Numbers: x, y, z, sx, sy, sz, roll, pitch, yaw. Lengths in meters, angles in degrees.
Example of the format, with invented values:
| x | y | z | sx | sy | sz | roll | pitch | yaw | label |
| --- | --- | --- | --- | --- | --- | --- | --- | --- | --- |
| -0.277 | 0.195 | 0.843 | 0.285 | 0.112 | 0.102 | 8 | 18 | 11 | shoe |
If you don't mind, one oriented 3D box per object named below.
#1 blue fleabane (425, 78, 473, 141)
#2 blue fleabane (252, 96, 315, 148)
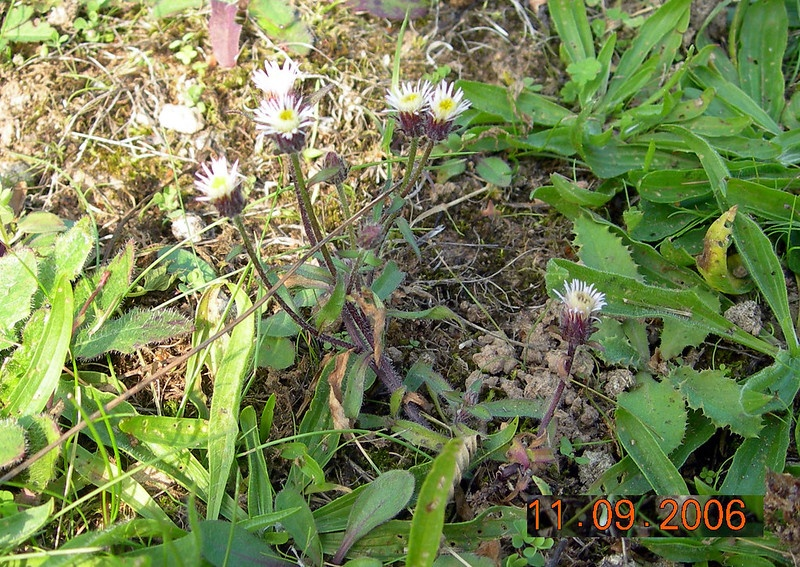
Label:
| x | y | z | sx | sy | sz | roll | pitch | yaw | label |
| --- | --- | --- | --- | --- | --- | --- | --- | --- | --- |
| 0.143 | -0.585 | 2.290 | 0.196 | 0.204 | 0.100 | 44 | 89 | 0 | blue fleabane |
| -0.338 | -0.488 | 2.104 | 0.151 | 0.081 | 0.180 | -1 | 84 | 7 | blue fleabane |
